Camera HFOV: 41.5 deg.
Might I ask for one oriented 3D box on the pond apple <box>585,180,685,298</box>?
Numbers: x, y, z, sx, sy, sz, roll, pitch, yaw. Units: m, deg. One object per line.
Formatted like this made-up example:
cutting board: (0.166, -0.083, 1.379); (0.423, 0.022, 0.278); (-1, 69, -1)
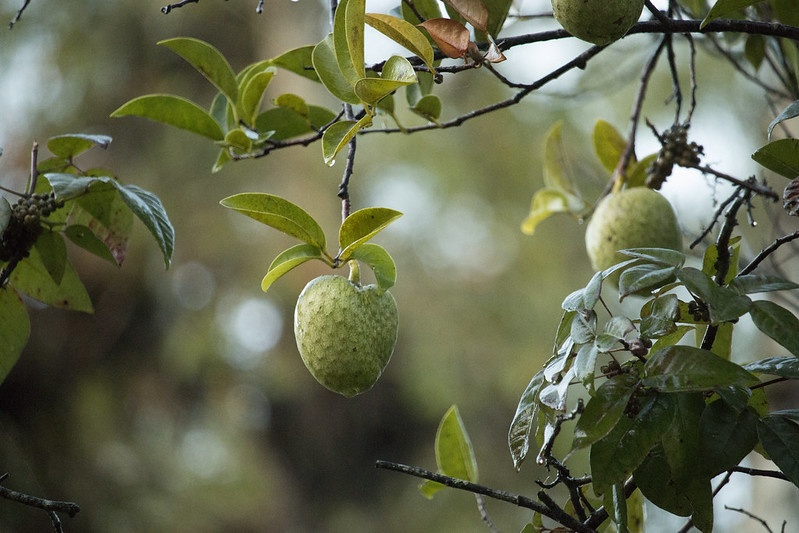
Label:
pond apple: (0.594, -0.001, 2.659); (0.241, 0.347, 0.282); (2, -26, 3)

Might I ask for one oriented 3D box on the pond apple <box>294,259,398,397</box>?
pond apple: (-0.116, 0.146, 2.510); (0.228, 0.368, 0.184); (13, -26, -28)
